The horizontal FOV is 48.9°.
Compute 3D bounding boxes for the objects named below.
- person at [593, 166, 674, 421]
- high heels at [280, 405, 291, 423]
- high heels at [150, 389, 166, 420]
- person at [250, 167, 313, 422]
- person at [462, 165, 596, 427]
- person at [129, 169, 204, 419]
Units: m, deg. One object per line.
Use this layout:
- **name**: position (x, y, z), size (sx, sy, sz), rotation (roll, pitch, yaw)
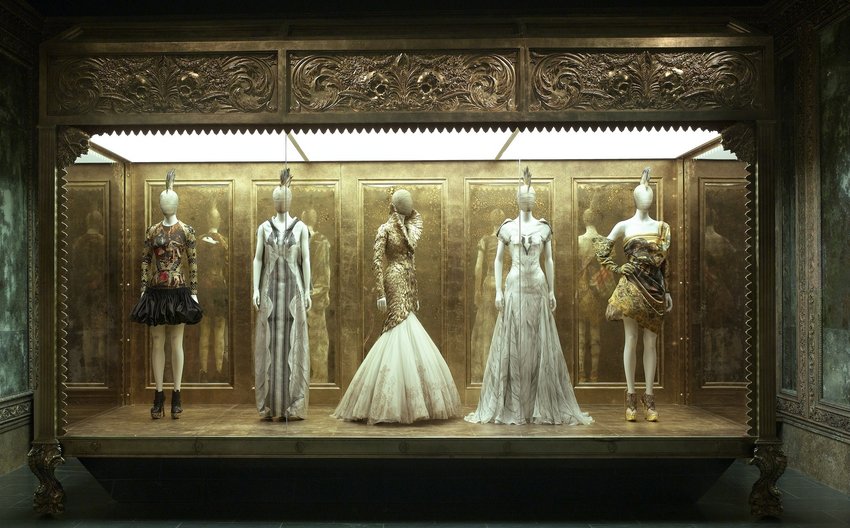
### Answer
- **person**: position (2.126, 0.289, 9.455), size (0.713, 2.512, 0.350), rotation (-1, -3, 10)
- **high heels**: position (-1.369, 1.463, 9.182), size (0.115, 0.146, 0.076), rotation (-1, -3, -3)
- **high heels**: position (-2.685, 1.401, 9.394), size (0.133, 0.275, 0.208), rotation (0, -2, -13)
- **person**: position (-1.431, 0.279, 9.355), size (0.553, 2.516, 0.337), rotation (0, -3, -10)
- **person**: position (1.009, 0.299, 9.359), size (1.046, 2.540, 0.316), rotation (-1, -3, 4)
- **person**: position (-2.628, 0.292, 9.527), size (0.682, 2.497, 0.334), rotation (0, -3, -13)
